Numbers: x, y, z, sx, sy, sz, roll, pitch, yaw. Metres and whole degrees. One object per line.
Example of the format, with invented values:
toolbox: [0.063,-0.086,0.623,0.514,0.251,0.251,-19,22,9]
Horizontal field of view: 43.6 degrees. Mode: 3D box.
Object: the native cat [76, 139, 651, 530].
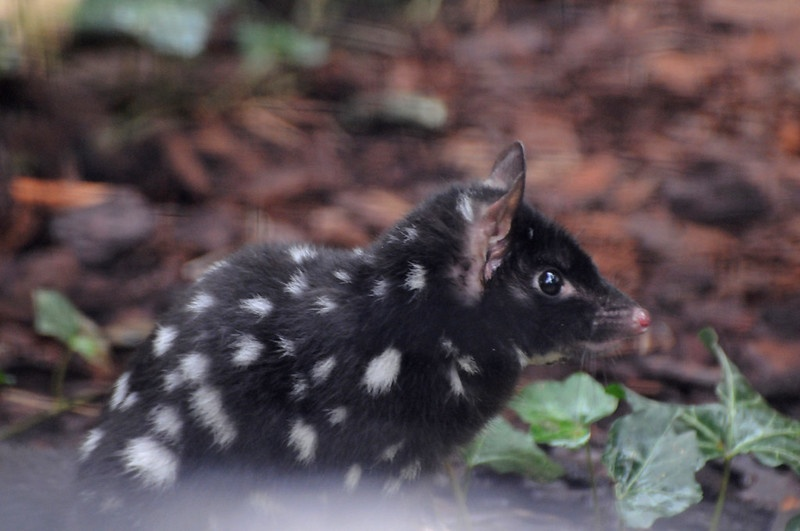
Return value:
native cat: [-0.046,0.064,3.185,1.961,0.650,1.435,-9,101,-5]
